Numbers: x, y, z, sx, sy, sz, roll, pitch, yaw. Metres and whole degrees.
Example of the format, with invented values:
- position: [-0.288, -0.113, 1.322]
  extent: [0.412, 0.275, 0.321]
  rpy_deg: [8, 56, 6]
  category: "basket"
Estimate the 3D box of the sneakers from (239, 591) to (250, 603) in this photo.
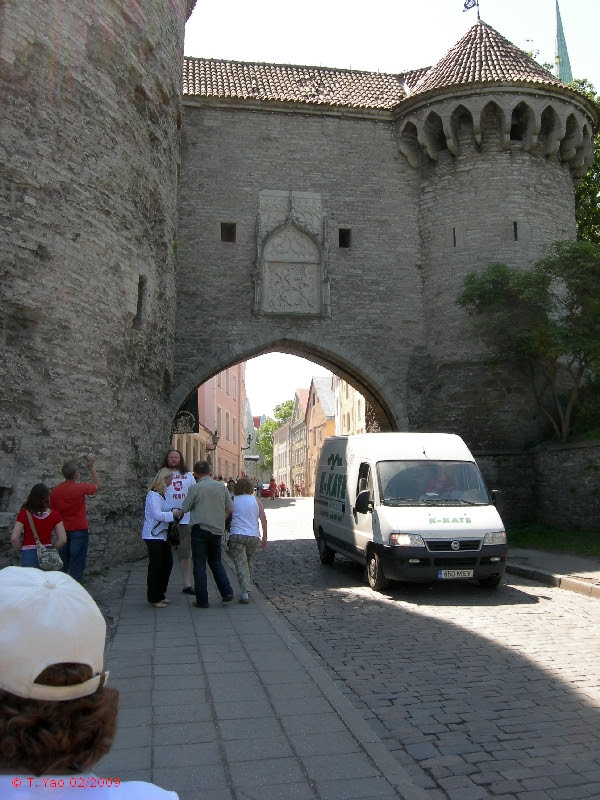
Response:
- position: [-0.672, 2.369, 7.934]
  extent: [0.088, 0.115, 0.129]
  rpy_deg: [2, -28, -3]
  category: "sneakers"

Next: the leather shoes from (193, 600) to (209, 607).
- position: [-1.132, 2.309, 7.507]
  extent: [0.161, 0.091, 0.152]
  rpy_deg: [2, -6, -10]
  category: "leather shoes"

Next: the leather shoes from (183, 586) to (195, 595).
- position: [-1.397, 2.383, 8.278]
  extent: [0.087, 0.117, 0.270]
  rpy_deg: [2, -12, -11]
  category: "leather shoes"

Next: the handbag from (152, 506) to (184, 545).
- position: [-1.509, 1.458, 7.596]
  extent: [0.389, 0.458, 0.390]
  rpy_deg: [-13, -19, 28]
  category: "handbag"

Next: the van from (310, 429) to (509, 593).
- position: [1.575, 1.641, 10.653]
  extent: [1.986, 2.093, 4.668]
  rpy_deg: [1, -6, -7]
  category: "van"
